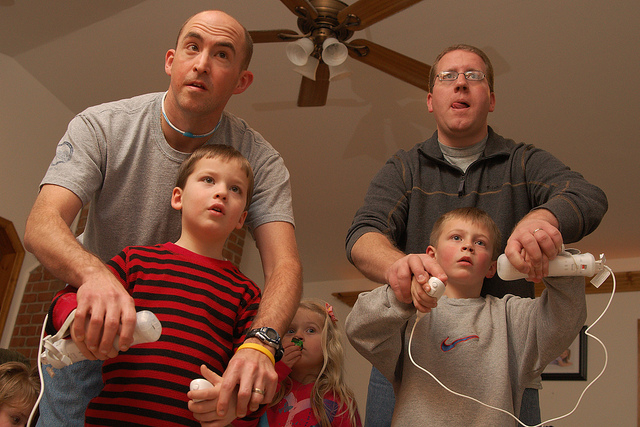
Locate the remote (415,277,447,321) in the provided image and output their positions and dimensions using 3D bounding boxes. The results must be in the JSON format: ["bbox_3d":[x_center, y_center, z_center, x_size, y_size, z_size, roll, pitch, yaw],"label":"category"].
[{"bbox_3d":[0.326,0.263,1.700,0.055,0.054,0.178,36,-51,11],"label":"remote"}]

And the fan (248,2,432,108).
[{"bbox_3d":[0.138,-1.045,3.385,0.983,0.395,0.741,-5,-26,22],"label":"fan"}]

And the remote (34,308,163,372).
[{"bbox_3d":[-0.641,0.370,1.676,0.339,0.126,0.204,-26,-64,21],"label":"remote"}]

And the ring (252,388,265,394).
[{"bbox_3d":[-0.177,0.506,1.605,0.032,0.014,0.011,11,-25,-12],"label":"ring"}]

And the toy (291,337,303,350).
[{"bbox_3d":[-0.113,0.628,2.744,0.058,0.066,0.091,7,-24,-3],"label":"toy"}]

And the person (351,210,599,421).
[{"bbox_3d":[0.521,0.296,1.885,0.717,0.776,0.517,-6,-27,24],"label":"person"}]
